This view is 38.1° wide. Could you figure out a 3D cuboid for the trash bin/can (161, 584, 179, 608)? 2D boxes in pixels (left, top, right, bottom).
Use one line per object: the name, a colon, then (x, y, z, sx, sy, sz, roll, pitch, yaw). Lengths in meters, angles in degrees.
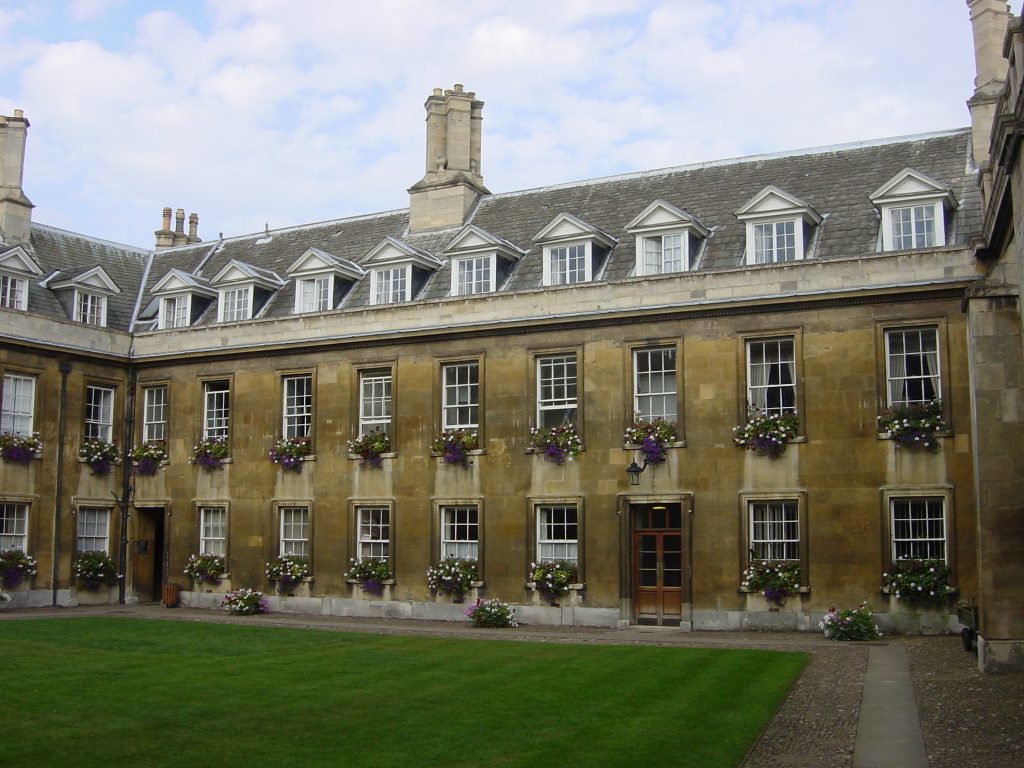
trash bin/can: (-9.572, 6.004, 42.097, 0.645, 0.770, 0.487, 2, -9, -4)
